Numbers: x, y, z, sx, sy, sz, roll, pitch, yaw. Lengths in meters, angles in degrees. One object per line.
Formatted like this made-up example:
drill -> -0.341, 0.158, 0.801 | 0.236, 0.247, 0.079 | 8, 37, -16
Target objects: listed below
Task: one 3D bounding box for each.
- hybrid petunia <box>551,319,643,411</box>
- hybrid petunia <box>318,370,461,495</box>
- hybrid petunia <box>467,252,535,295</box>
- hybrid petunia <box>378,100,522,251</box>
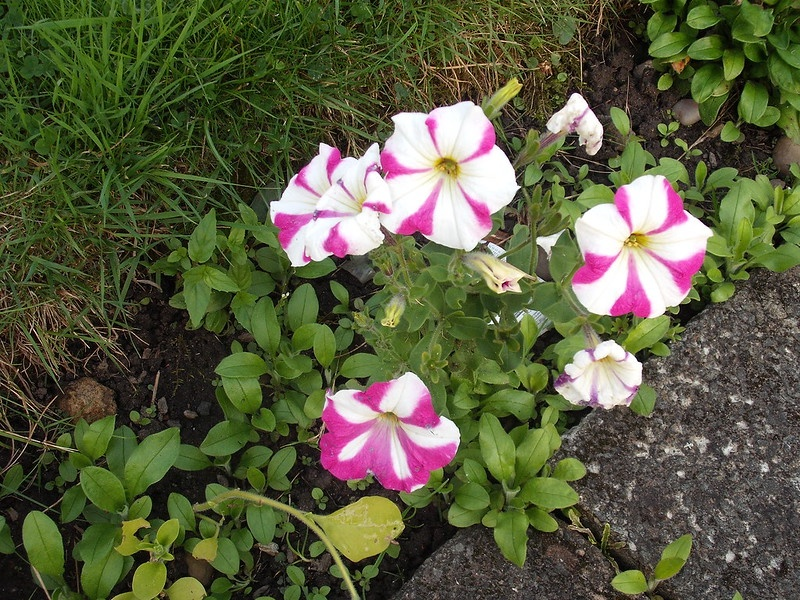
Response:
hybrid petunia -> 0.702, 0.182, 2.233 | 0.318, 0.354, 0.401 | -4, 99, 19
hybrid petunia -> -0.045, 0.411, 2.233 | 0.433, 0.424, 0.160 | 50, 20, -12
hybrid petunia -> 0.300, -0.094, 2.039 | 0.111, 0.069, 0.184 | -31, 44, -21
hybrid petunia -> 0.133, -0.334, 1.985 | 0.414, 0.437, 0.347 | 8, 58, -4
